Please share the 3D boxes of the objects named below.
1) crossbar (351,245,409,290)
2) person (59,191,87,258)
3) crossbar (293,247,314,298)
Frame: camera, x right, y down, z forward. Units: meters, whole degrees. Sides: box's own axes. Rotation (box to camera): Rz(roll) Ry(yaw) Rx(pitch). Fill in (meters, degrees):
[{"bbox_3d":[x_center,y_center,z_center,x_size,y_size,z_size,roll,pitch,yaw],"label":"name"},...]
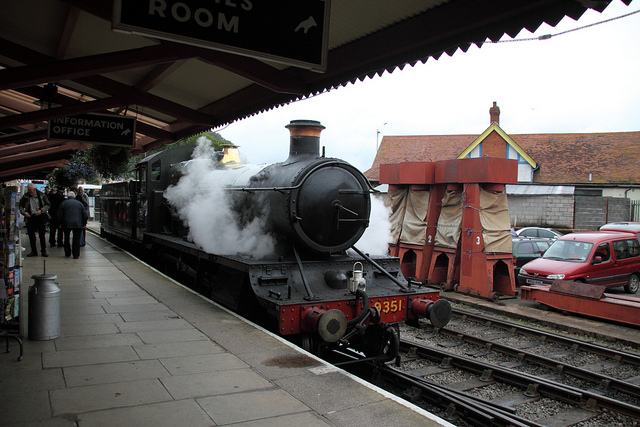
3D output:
[{"bbox_3d":[1.079,0.962,7.746,1.089,0.711,0.382,3,6,9],"label":"crossbar"},{"bbox_3d":[-7.833,0.358,13.373,0.740,2.048,1.002,-2,7,-31],"label":"person"},{"bbox_3d":[-0.281,0.987,7.196,0.250,0.703,0.862,0,6,-15],"label":"crossbar"}]
